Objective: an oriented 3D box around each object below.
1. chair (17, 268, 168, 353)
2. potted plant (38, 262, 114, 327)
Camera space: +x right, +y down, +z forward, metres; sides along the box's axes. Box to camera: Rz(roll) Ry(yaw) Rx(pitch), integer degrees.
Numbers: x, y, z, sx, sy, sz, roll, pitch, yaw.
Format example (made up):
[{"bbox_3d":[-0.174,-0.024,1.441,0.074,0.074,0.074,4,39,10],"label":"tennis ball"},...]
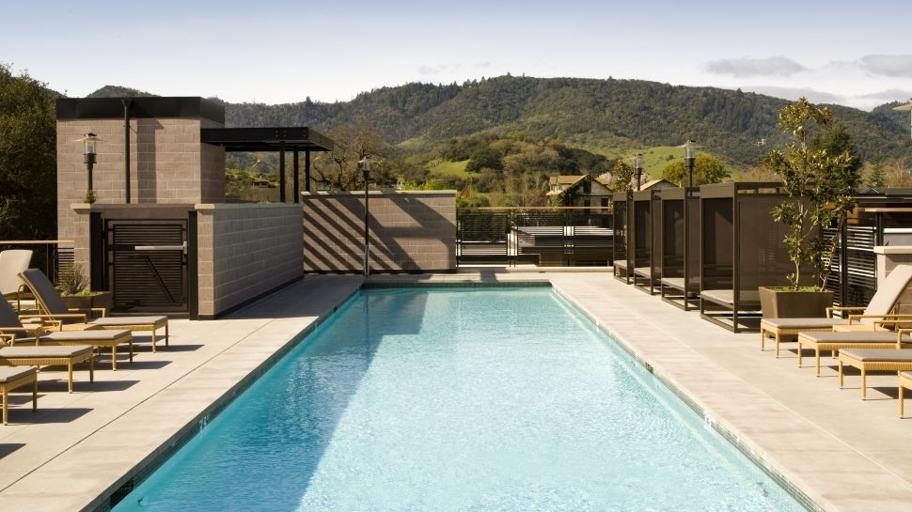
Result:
[{"bbox_3d":[-7.345,1.116,14.513,2.940,1.628,1.786,0,0,-2],"label":"chair"},{"bbox_3d":[-7.869,0.907,14.889,1.792,1.240,1.614,7,2,-22],"label":"potted plant"}]
